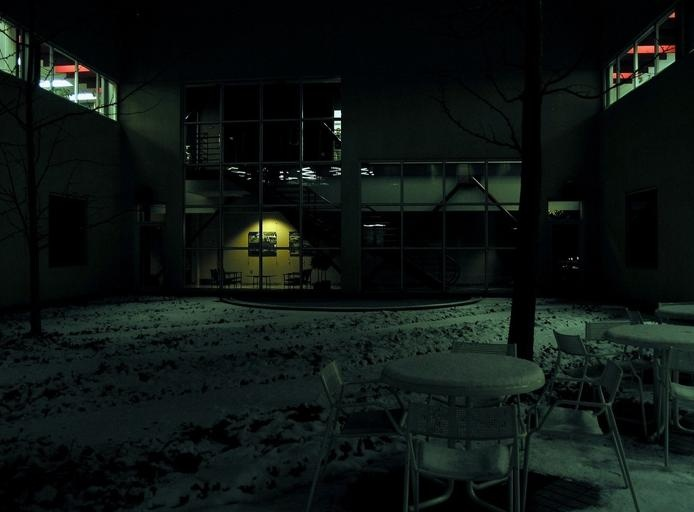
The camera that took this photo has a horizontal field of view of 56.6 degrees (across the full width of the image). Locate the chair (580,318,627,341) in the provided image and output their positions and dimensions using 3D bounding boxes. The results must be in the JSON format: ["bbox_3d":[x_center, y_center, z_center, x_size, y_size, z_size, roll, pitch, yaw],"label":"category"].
[{"bbox_3d":[3.860,1.130,9.880,0.861,0.439,0.252,0,-13,2],"label":"chair"}]

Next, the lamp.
[{"bbox_3d":[-1.548,-2.584,20.477,4.692,0.679,0.389,2,7,11],"label":"lamp"}]

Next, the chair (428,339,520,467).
[{"bbox_3d":[1.890,1.689,8.908,0.947,1.393,0.977,-6,-18,34],"label":"chair"}]

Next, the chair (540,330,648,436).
[{"bbox_3d":[3.745,1.782,9.870,1.643,2.131,1.314,-2,-3,-2],"label":"chair"}]
